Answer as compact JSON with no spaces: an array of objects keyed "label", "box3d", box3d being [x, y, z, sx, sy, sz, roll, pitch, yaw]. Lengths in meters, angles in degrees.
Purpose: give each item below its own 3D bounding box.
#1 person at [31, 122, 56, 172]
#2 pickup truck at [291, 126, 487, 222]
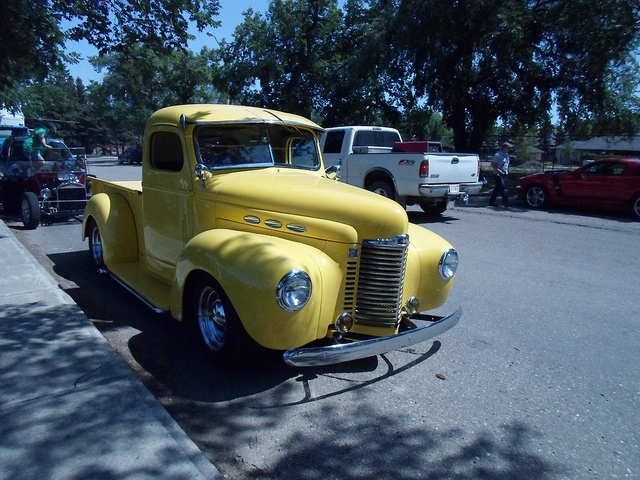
[{"label":"person","box3d":[-6.908,-2.241,10.902,0.471,1.400,0.632,14,2,-37]},{"label":"pickup truck","box3d":[1.849,-2.506,12.928,2.511,2.121,4.909,-9,19,-39]}]
